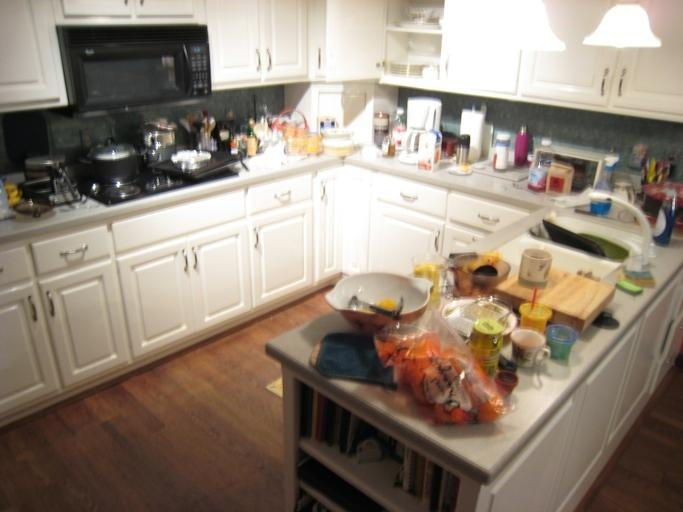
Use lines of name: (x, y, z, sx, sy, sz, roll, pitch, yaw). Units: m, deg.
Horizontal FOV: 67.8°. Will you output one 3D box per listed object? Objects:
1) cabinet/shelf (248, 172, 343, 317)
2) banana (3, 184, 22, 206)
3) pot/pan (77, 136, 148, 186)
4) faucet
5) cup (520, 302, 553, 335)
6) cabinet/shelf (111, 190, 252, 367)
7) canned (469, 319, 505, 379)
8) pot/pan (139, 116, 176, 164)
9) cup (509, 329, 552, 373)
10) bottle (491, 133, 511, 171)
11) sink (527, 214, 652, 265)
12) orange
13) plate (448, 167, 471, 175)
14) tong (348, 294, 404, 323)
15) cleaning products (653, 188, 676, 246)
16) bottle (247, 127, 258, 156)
cabinet/shelf: (-0.370, -0.104, 3.691, 0.719, 0.871, 0.526, -22, 33, -40)
banana: (-1.836, -0.336, 2.829, 0.035, 0.112, 0.109, -6, -7, 8)
pot/pan: (-1.448, -0.520, 3.191, 0.279, 0.260, 0.373, 19, 29, 35)
faucet: (1.298, -0.149, 2.336, 0.304, 0.279, 0.178, -5, 23, -11)
cup: (0.722, 0.221, 1.918, 0.106, 0.082, 0.108, 0, 24, 0)
cabinet/shelf: (-1.059, 0.129, 3.246, 0.448, 0.911, 0.761, 28, 40, 36)
canned: (0.486, 0.318, 1.703, 0.114, 0.206, 0.115, -13, 24, -19)
pot/pan: (-1.199, -0.769, 3.418, 0.249, 0.280, 0.262, -6, 30, -14)
cup: (0.666, 0.333, 1.849, 0.111, 0.106, 0.140, -24, 43, -24)
bottle: (1.162, -0.769, 3.669, 0.130, 0.260, 0.309, 7, 24, 16)
sink: (1.195, -0.073, 2.569, 0.265, 0.116, 0.376, -14, 37, -38)
orange: (0.311, 0.375, 1.649, 0.219, 0.128, 0.383, -23, 47, -30)
plate: (0.831, -0.597, 3.575, 0.102, 0.021, 0.101, -12, 31, -3)
tong: (0.128, 0.185, 1.866, 0.142, 0.075, 0.090, 16, 27, 27)
cleaning products: (1.732, -0.212, 2.691, 0.087, 0.280, 0.186, 14, 27, 32)
bottle: (-0.667, -0.839, 3.739, 0.066, 0.202, 0.133, 1, 22, 3)
